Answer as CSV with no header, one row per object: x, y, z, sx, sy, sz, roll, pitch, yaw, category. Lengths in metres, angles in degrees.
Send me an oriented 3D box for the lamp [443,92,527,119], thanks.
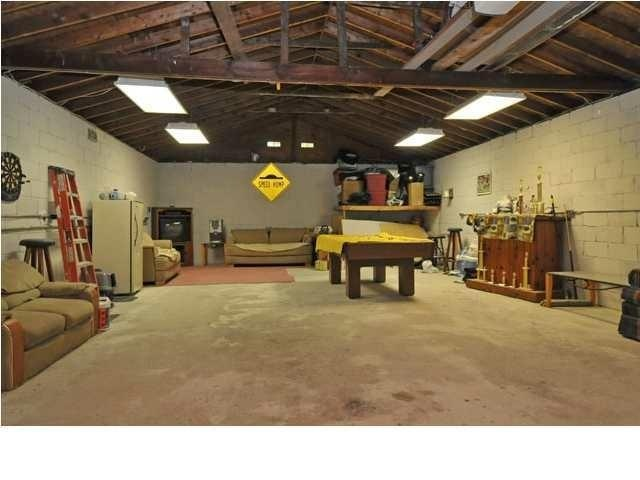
2.499,-2.075,6.547,0.718,0.281,1.053,-2,12,-9,lamp

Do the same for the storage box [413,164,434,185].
2.709,-1.712,10.905,0.645,0.510,0.515,-2,5,-23,storage box

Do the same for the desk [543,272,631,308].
3.751,0.670,5.953,0.581,0.426,0.971,-3,5,-16,desk

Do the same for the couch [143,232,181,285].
-3.301,0.267,8.472,0.841,0.872,1.582,3,5,-6,couch

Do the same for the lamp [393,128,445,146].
1.975,-2.068,8.426,0.639,0.272,1.003,0,12,-3,lamp

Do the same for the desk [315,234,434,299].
0.907,0.249,6.564,1.266,0.576,1.640,0,0,-6,desk

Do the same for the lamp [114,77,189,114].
-2.424,-2.099,6.177,0.659,0.344,1.100,-1,12,-5,lamp

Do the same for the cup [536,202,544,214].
3.458,-0.514,6.664,0.098,0.164,0.162,4,14,17,cup

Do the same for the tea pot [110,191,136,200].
-3.338,-0.765,7.200,0.342,0.110,0.313,0,1,0,tea pot

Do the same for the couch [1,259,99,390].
-2.742,0.873,4.301,0.732,0.609,1.163,3,4,-6,couch

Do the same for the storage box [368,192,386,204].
1.394,-1.007,10.232,0.529,0.296,0.274,0,-1,-5,storage box

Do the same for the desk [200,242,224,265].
-2.844,0.345,11.004,0.760,0.582,0.564,-1,0,-9,desk

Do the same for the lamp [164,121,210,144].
-2.728,-2.227,8.710,0.770,0.158,1.264,0,-2,-1,lamp

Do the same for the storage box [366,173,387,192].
1.351,-1.391,10.159,0.481,0.374,0.440,0,4,2,storage box

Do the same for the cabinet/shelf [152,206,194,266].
-3.727,-0.088,11.058,1.055,1.423,0.431,-1,-3,4,cabinet/shelf

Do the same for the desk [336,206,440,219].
1.744,-0.756,10.648,2.536,0.386,1.037,-3,12,-17,desk
